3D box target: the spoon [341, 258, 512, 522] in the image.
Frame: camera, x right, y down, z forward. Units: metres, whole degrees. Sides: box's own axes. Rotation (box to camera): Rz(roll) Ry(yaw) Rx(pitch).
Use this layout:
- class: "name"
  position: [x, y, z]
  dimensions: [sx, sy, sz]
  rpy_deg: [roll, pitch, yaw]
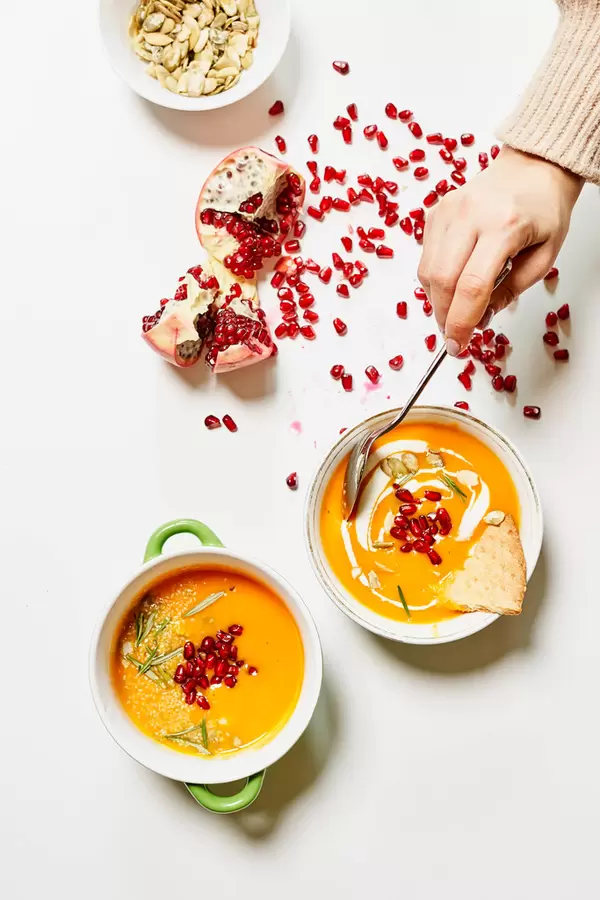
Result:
- class: "spoon"
  position: [0.276, -0.105, 1.647]
  dimensions: [0.056, 0.649, 0.100]
  rpy_deg: [17, 20, -36]

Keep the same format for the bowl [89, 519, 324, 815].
- class: "bowl"
  position: [-0.185, 0.432, 1.496]
  dimensions: [0.421, 0.330, 0.402]
  rpy_deg: [-1, 54, 2]
